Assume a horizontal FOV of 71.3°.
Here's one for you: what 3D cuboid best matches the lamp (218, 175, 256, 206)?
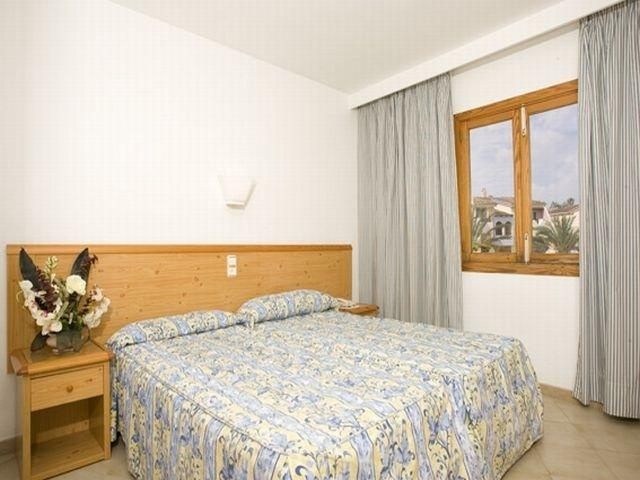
[{"bbox_3d":[-0.768,-0.472,4.131,0.264,0.222,0.315,-7,-9,39],"label":"lamp"}]

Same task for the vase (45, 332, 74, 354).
[{"bbox_3d":[-1.794,0.688,3.059,0.150,0.112,0.151,0,0,41],"label":"vase"}]

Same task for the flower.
[{"bbox_3d":[-1.833,0.448,3.198,0.536,0.618,0.461,14,13,-19],"label":"flower"}]
